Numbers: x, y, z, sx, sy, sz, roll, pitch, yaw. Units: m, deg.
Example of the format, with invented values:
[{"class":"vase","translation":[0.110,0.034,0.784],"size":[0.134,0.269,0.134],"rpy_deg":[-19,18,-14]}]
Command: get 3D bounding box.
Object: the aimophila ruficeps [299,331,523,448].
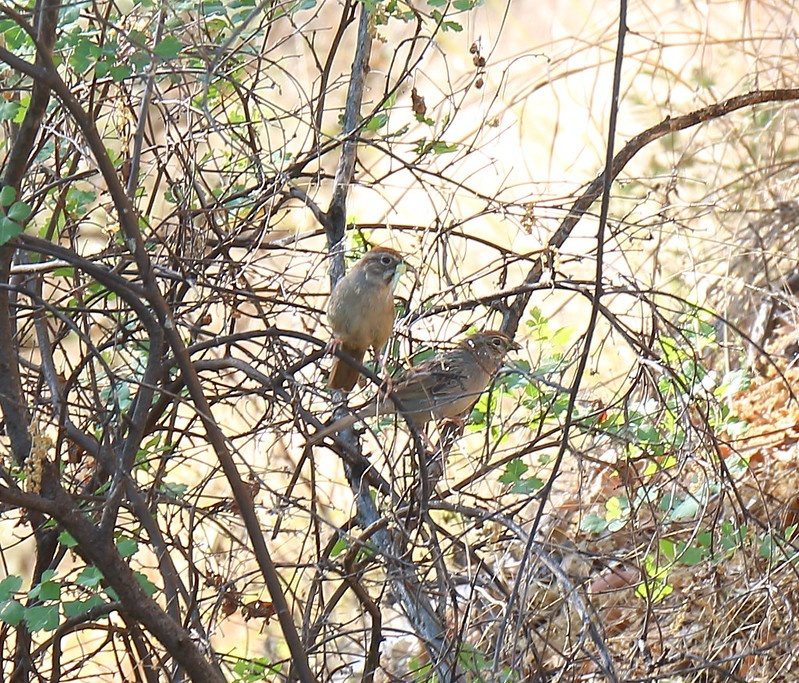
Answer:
[{"class":"aimophila ruficeps","translation":[0.069,0.202,4.513],"size":[0.932,0.566,0.316],"rpy_deg":[2,1,-3]}]
